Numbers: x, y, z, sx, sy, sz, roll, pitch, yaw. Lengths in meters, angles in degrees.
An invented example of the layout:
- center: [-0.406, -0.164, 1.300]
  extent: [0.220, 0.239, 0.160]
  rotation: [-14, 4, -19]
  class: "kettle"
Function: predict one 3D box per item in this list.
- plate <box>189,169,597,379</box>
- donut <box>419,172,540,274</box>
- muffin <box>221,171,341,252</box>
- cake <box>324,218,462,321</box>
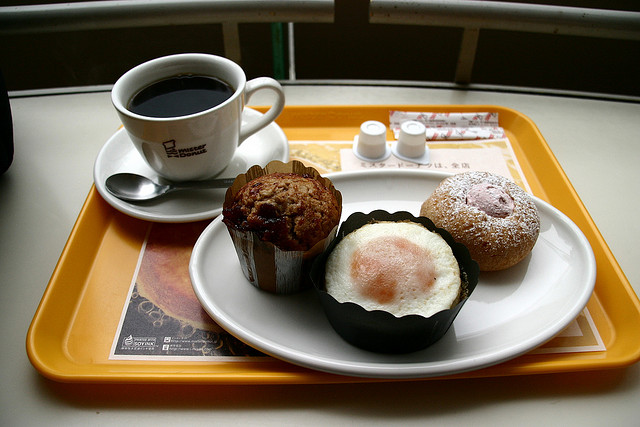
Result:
- center: [0.282, -0.045, 0.963]
  extent: [0.767, 0.062, 0.553]
  rotation: [1, 45, 0]
  class: "plate"
- center: [0.420, 0.028, 1.201]
  extent: [0.265, 0.137, 0.260]
  rotation: [6, 64, 7]
  class: "donut"
- center: [-0.083, -0.005, 1.174]
  extent: [0.286, 0.173, 0.265]
  rotation: [-15, 24, -28]
  class: "muffin"
- center: [0.170, 0.140, 1.073]
  extent: [0.316, 0.099, 0.322]
  rotation: [13, 48, 19]
  class: "cake"
